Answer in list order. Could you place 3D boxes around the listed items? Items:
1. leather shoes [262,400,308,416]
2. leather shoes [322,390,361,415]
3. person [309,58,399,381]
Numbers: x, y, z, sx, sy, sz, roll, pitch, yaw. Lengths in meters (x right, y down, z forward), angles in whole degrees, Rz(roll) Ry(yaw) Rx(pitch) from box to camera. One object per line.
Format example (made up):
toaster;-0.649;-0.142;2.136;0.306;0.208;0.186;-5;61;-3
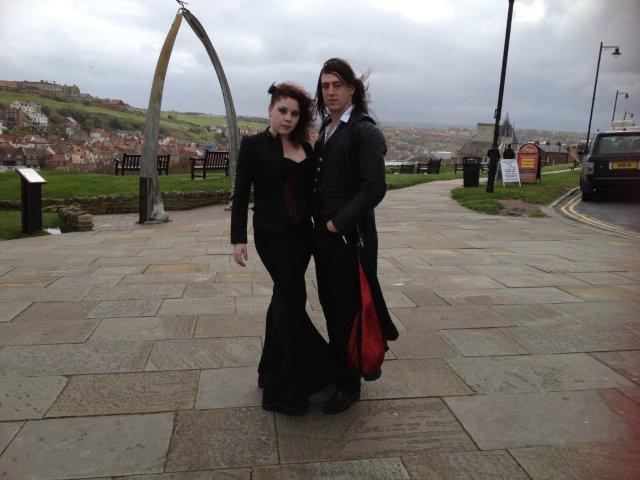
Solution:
leather shoes;-0.220;1.120;2.562;0.318;0.122;0.101;2;10;6
leather shoes;0.153;1.102;2.606;0.098;0.102;0.276;2;4;45
person;0.233;-0.106;2.597;0.540;2.210;0.626;-1;12;-7
